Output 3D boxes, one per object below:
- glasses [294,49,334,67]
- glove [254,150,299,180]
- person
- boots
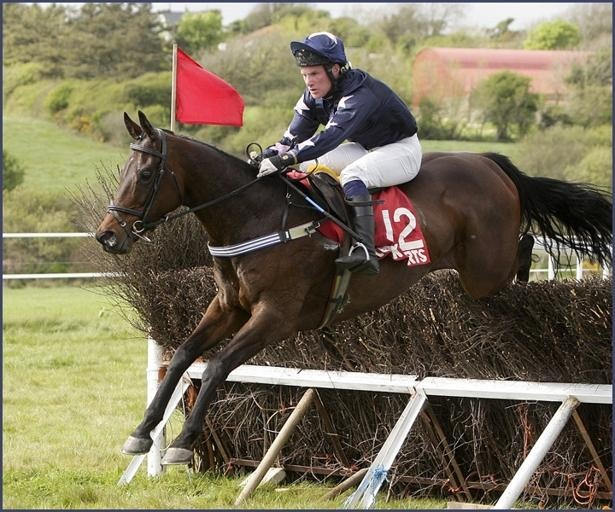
[{"bbox_3d":[0.043,-1.334,6.189,0.177,0.089,0.136,13,13,-29],"label":"glasses"},{"bbox_3d":[-0.198,-0.607,6.070,0.260,0.191,0.224,2,8,-4],"label":"glove"},{"bbox_3d":[0.261,-0.857,6.336,0.955,1.970,0.910,-5,12,-37],"label":"person"},{"bbox_3d":[0.381,-0.140,6.051,0.352,0.509,0.291,-4,12,-33],"label":"boots"}]
